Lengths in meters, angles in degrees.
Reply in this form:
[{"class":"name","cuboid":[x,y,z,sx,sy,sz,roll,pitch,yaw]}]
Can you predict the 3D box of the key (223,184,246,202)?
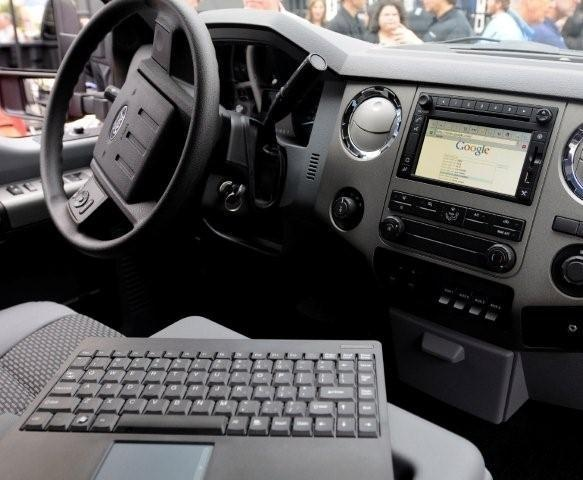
[{"class":"key","cuboid":[-0.141,-0.119,1.108,0.022,0.039,0.052,-3,-7,-45]}]
